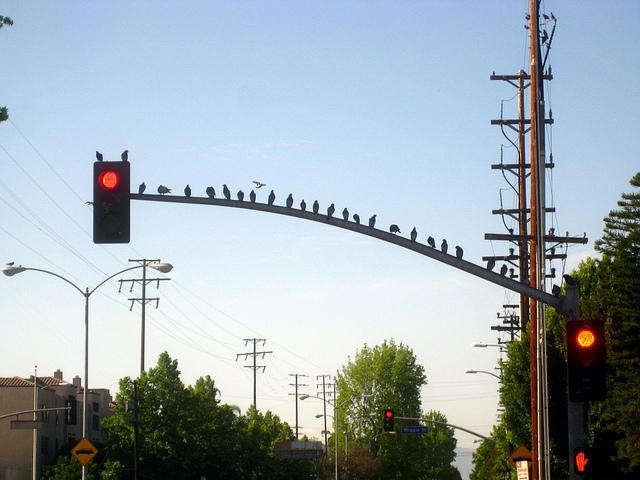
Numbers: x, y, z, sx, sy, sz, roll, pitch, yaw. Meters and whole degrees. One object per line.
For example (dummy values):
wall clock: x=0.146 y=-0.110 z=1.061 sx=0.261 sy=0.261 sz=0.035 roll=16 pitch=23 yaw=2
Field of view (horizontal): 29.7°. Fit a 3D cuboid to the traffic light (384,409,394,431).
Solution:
traffic light: x=4.964 y=12.930 z=87.046 sx=0.570 sy=1.375 sz=1.113 roll=1 pitch=-20 yaw=0
